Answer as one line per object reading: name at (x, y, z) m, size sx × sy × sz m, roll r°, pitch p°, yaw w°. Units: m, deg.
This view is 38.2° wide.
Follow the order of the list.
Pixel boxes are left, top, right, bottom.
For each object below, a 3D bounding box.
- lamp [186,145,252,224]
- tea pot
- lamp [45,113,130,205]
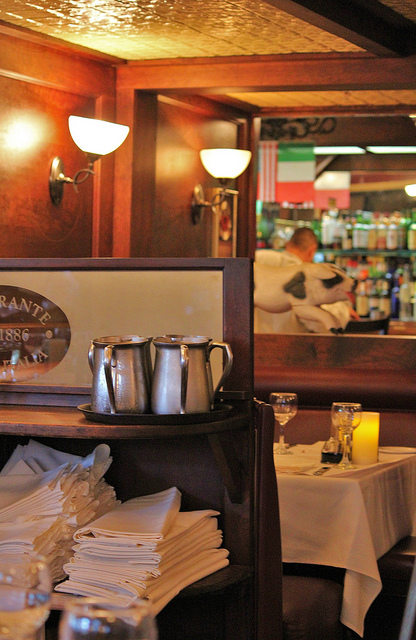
lamp at (0.075, -0.782, 3.506) m, size 0.327 × 0.403 × 0.425 m, roll -6°, pitch 7°, yaw -25°
tea pot at (-0.084, 0.088, 0.938) m, size 0.198 × 0.094 × 0.134 m, roll 1°, pitch 8°, yaw 7°
lamp at (-0.559, -0.744, 2.871) m, size 0.339 × 0.400 × 0.257 m, roll 5°, pitch 16°, yaw -2°
